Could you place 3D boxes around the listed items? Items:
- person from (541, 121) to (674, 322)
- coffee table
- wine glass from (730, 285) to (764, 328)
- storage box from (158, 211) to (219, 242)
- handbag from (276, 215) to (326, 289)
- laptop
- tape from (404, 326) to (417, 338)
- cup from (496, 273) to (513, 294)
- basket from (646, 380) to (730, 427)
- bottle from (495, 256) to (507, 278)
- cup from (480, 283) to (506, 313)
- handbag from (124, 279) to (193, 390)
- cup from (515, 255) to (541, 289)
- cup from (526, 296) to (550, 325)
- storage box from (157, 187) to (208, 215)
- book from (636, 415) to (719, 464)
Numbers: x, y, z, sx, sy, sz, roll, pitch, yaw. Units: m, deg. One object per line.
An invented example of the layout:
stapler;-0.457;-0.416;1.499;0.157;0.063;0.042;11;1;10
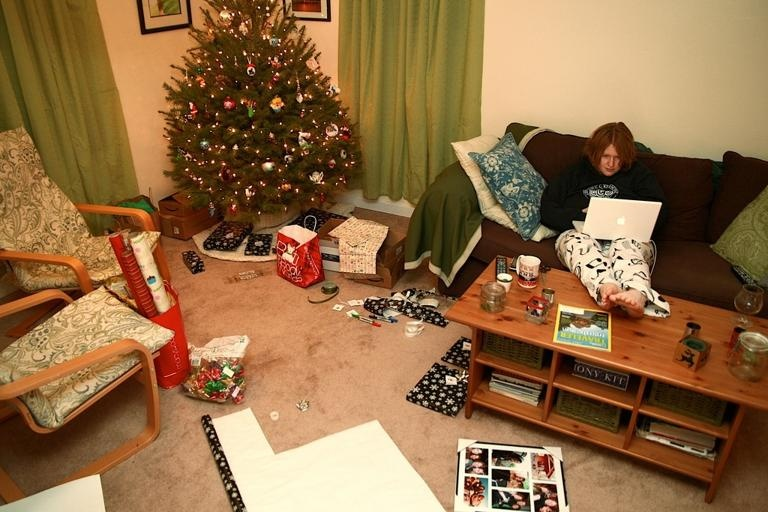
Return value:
person;1.196;-0.271;3.066;0.662;0.813;1.307;2;33;21
coffee table;1.284;0.971;3.108;1.834;0.912;0.948;17;42;24
wine glass;1.850;0.265;2.577;0.131;0.212;0.133;4;28;24
storage box;-1.704;-0.324;4.312;0.263;0.169;0.382;14;29;20
handbag;-0.646;-0.064;3.845;0.503;0.487;0.278;23;38;26
laptop;1.407;-0.220;3.005;0.394;0.262;0.276;3;26;6
tape;0.176;0.505;3.297;0.082;0.043;0.062;7;30;12
cup;0.656;0.141;2.751;0.097;0.076;0.098;-2;31;1
basket;1.436;0.710;2.410;0.314;0.153;0.041;12;32;19
bottle;0.677;0.062;2.916;0.048;0.016;0.159;-2;29;13
cup;0.569;0.222;2.705;0.141;0.135;0.143;-2;31;1
handbag;-1.272;0.466;2.826;0.272;0.494;0.404;-17;40;-15
cup;0.761;0.091;2.817;0.118;0.169;0.183;-2;22;1
cup;0.782;0.273;2.595;0.123;0.087;0.129;-2;35;1
storage box;-1.691;-0.425;4.189;0.292;0.142;0.314;7;21;13
book;1.462;0.915;2.505;0.221;0.052;0.221;12;9;15
